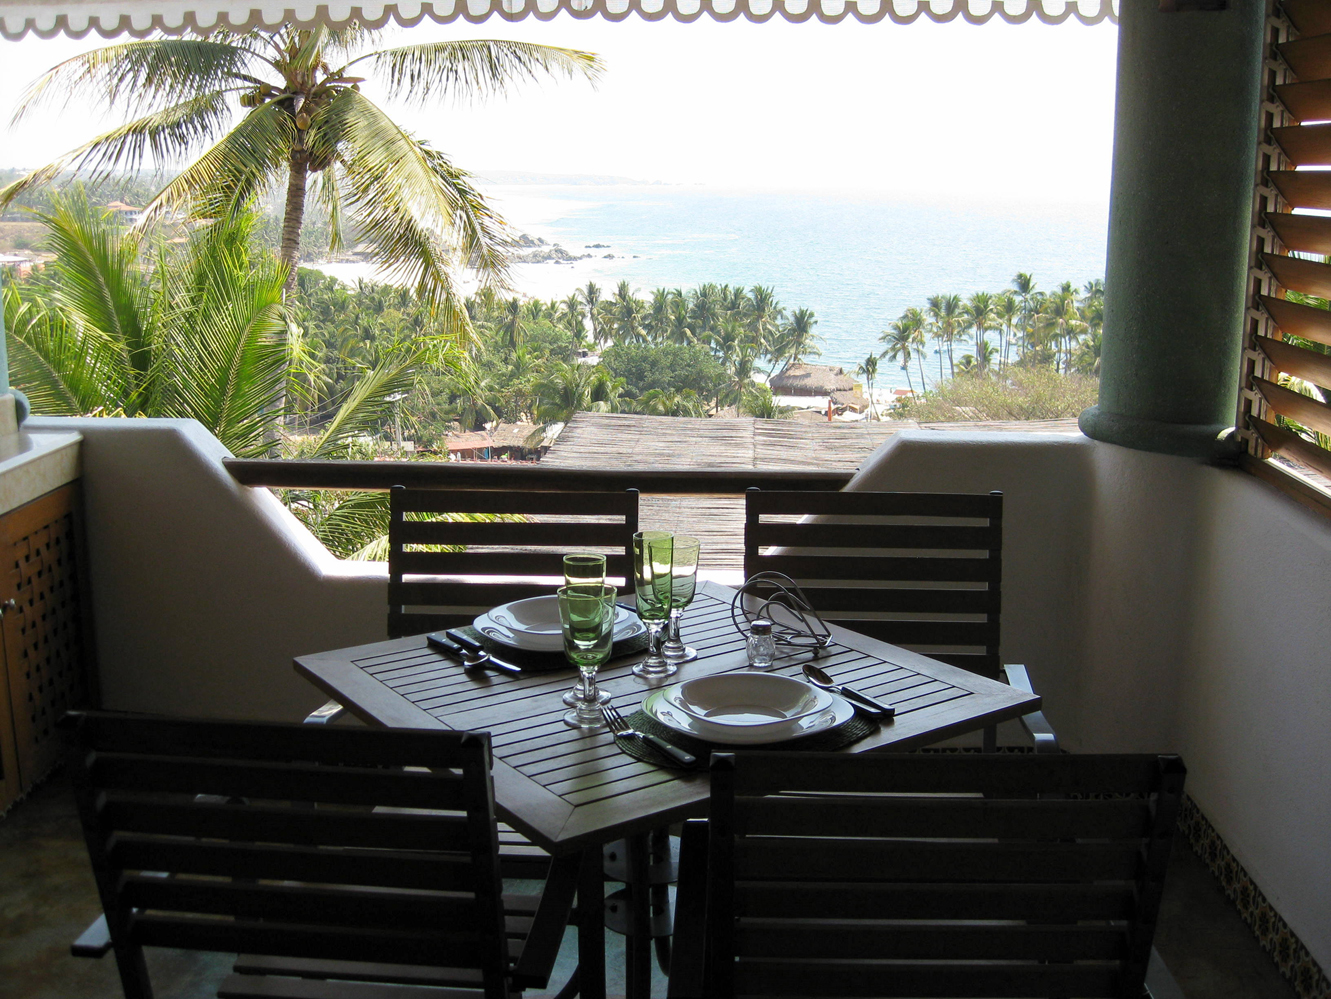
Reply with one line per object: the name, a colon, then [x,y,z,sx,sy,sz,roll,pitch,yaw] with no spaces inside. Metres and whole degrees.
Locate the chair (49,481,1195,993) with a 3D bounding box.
chair: [0.094,0.366,2.316,1.566,0.667,1.370,-10,16,-42]

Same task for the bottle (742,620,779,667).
bottle: [0.187,0.283,2.076,0.070,0.104,0.072,-1,-1,0]

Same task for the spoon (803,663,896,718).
spoon: [0.328,0.333,1.875,0.049,0.041,0.272,-6,5,-9]
